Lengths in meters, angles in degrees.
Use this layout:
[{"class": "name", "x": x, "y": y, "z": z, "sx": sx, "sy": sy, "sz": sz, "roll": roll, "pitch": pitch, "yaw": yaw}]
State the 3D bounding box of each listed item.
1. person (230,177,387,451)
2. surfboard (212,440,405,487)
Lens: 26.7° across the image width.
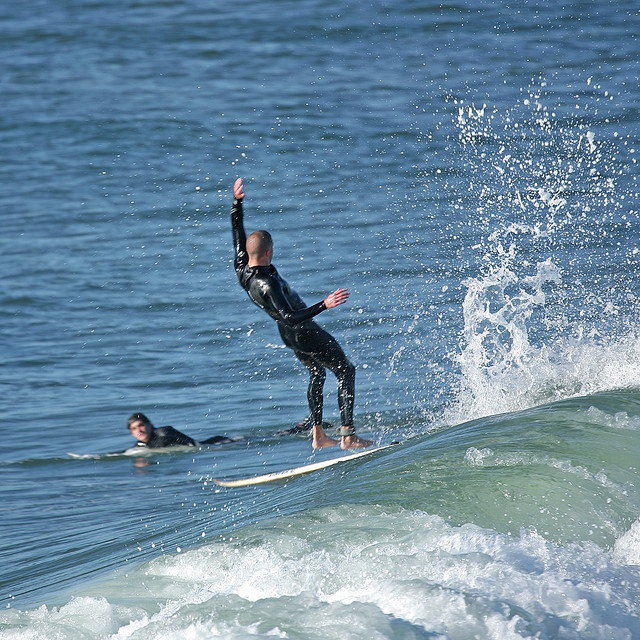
[{"class": "person", "x": -0.268, "y": -0.048, "z": 16.647, "sx": 1.247, "sy": 3.280, "sz": 1.484, "roll": -11, "pitch": 2, "yaw": -2}, {"class": "surfboard", "x": -0.087, "y": 1.781, "z": 16.456, "sx": 1.452, "sy": 0.097, "sz": 0.154, "roll": -22, "pitch": 12, "yaw": 8}]
